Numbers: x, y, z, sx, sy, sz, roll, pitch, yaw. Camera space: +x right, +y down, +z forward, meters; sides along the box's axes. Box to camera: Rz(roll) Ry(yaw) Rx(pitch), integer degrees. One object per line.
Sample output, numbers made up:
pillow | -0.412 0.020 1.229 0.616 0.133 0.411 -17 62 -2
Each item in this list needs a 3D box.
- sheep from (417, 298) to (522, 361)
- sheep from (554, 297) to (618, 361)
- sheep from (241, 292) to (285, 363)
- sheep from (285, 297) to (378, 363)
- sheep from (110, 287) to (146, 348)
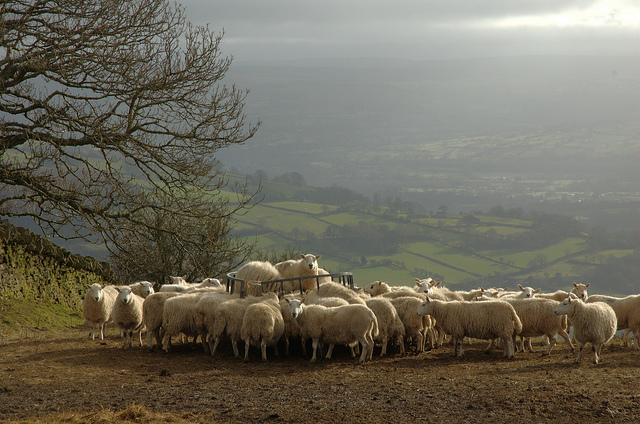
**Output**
sheep | 6.036 4.665 33.526 4.219 2.111 1.257 0 -9 16
sheep | 10.933 4.513 32.684 3.464 2.261 1.556 19 -25 -32
sheep | -2.273 4.491 33.863 1.342 1.891 2.693 0 1 9
sheep | 0.870 4.287 33.888 2.988 2.637 4.435 7 31 18
sheep | -8.091 4.255 35.335 1.529 2.688 1.725 -7 8 -23
